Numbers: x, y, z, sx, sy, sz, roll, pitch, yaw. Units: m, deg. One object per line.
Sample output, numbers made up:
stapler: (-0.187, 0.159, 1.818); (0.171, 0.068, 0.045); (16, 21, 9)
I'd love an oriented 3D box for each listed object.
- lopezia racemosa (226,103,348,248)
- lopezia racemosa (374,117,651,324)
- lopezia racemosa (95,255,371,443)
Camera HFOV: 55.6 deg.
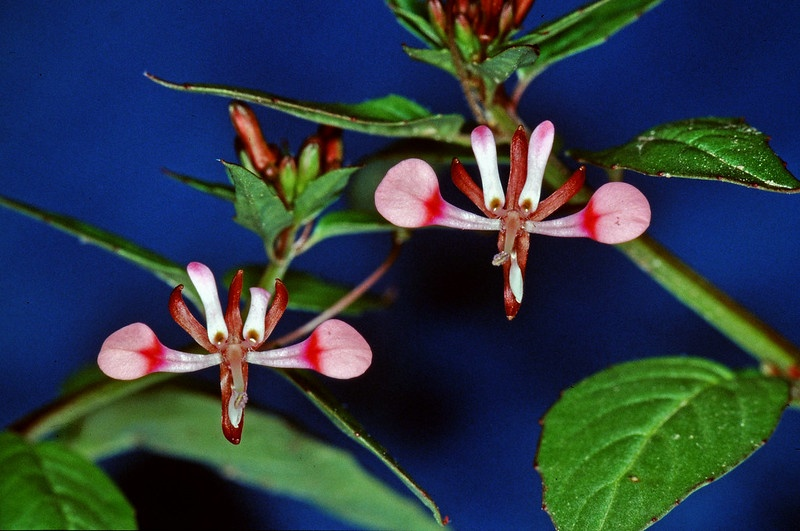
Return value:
lopezia racemosa: (-0.264, -0.221, 1.719); (0.258, 0.236, 0.243); (-1, -83, -17)
lopezia racemosa: (0.243, -0.100, 1.604); (0.593, 0.170, 0.400); (3, -72, 3)
lopezia racemosa: (-0.363, 0.195, 1.644); (0.577, 0.368, 0.176); (2, -28, -26)
